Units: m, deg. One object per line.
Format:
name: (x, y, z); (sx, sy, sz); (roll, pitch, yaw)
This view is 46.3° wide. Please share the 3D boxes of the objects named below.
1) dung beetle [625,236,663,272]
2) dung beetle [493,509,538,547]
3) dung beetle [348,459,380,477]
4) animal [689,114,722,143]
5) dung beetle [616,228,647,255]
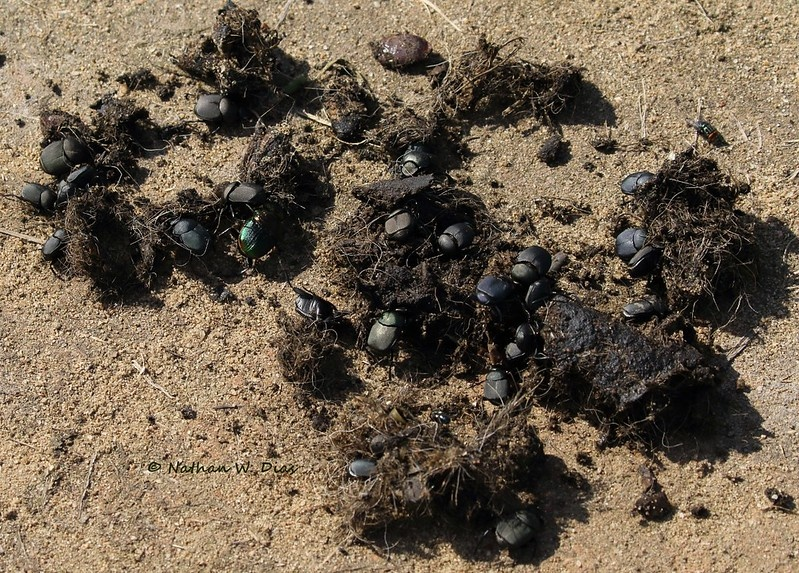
dung beetle: (3.050, -0.366, 11.729); (0.425, 0.169, 0.276); (-36, 109, 1)
dung beetle: (1.387, 2.903, 11.251); (0.486, 0.336, 0.290); (-18, 107, -10)
dung beetle: (-0.451, 2.218, 11.305); (0.362, 0.116, 0.239); (-4, 75, 3)
animal: (3.982, -2.021, 12.231); (0.185, 0.155, 0.510); (-37, 76, -6)
dung beetle: (2.884, -0.556, 11.764); (0.327, 0.314, 0.283); (-27, 42, 31)
